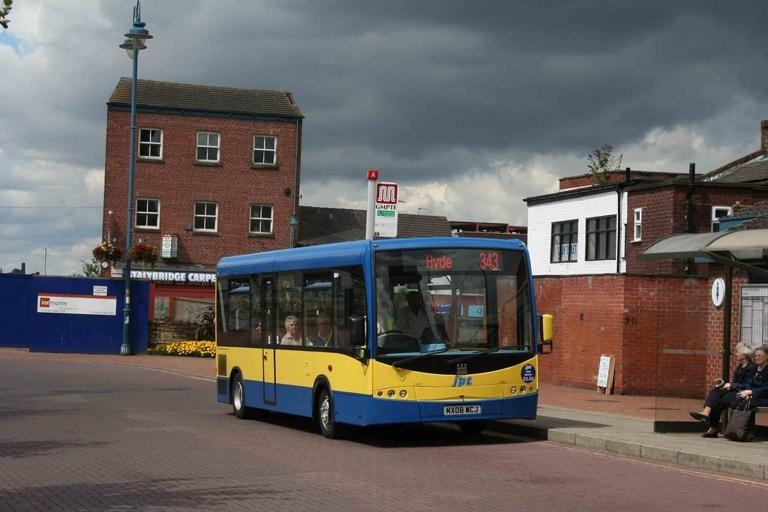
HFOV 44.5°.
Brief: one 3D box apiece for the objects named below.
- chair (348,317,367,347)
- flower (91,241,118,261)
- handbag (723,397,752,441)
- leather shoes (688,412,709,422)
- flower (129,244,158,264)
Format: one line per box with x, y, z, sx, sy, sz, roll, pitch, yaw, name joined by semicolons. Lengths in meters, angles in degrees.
-0.448;1.390;17.028;0.281;0.545;0.216;0;1;-10;chair
-13.540;-0.216;45.795;1.062;0.881;1.237;0;0;-3;flower
6.606;3.068;17.377;0.421;0.807;0.621;10;-8;-14;handbag
5.983;3.054;17.809;0.346;0.139;0.130;25;-18;29;leather shoes
-12.185;-0.081;47.091;1.129;0.982;1.124;1;1;2;flower
